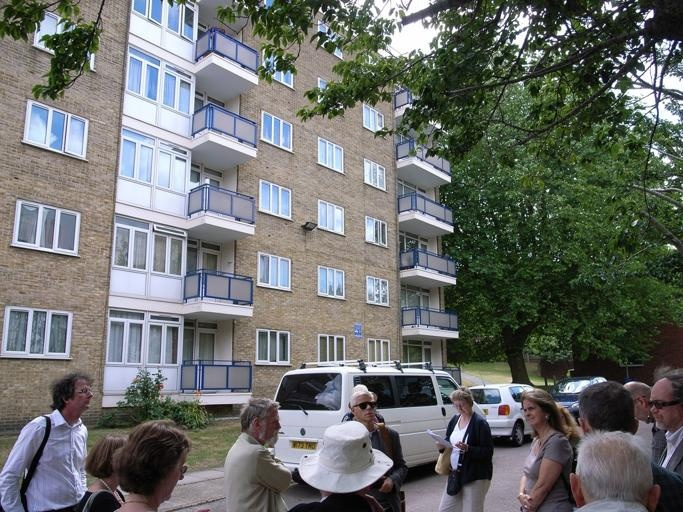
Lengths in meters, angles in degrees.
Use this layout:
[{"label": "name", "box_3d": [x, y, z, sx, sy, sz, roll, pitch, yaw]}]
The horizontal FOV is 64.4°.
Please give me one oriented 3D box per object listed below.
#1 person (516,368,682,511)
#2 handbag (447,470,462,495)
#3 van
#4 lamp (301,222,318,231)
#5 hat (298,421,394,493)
[{"label": "person", "box_3d": [2.167, 1.416, 4.139, 0.407, 0.899, 0.787, 0, -16, -6]}, {"label": "handbag", "box_3d": [1.383, 2.803, 6.652, 0.102, 0.228, 0.215, 9, -31, 3]}, {"label": "van", "box_3d": [1.059, 3.156, 12.043, 4.749, 2.551, 2.776, 8, -14, -40]}, {"label": "lamp", "box_3d": [-1.457, -1.357, 25.078, 0.867, 0.452, 0.324, 13, -22, -41]}, {"label": "hat", "box_3d": [0.035, 1.478, 4.123, 0.699, 0.275, 0.804, 0, 3, 3]}]
